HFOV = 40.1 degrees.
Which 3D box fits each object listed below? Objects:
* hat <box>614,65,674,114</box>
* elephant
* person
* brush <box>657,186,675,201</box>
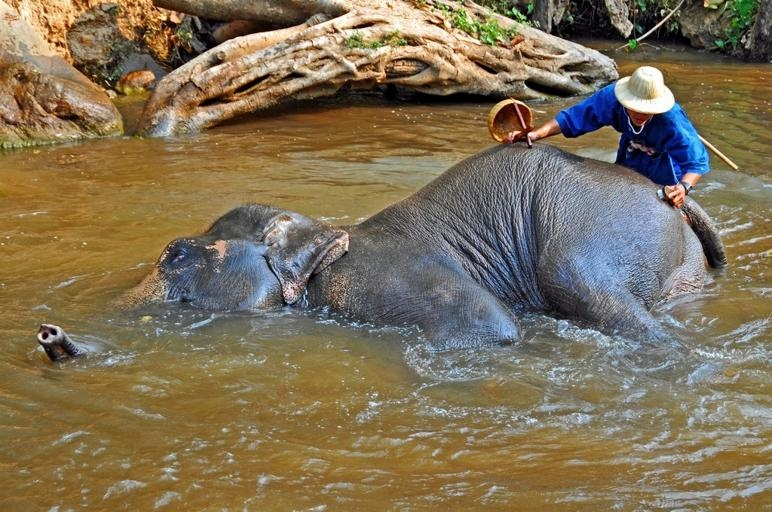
[{"bbox_3d":[2.180,-1.395,8.917,0.503,0.412,0.371,3,21,8],"label":"hat"},{"bbox_3d":[0.390,-0.074,8.964,6.823,1.615,1.603,-8,18,-8],"label":"elephant"},{"bbox_3d":[2.239,-0.921,9.622,1.420,1.595,1.141,39,76,25],"label":"person"},{"bbox_3d":[2.308,-0.525,8.768,0.170,0.069,0.101,-24,68,-33],"label":"brush"}]
